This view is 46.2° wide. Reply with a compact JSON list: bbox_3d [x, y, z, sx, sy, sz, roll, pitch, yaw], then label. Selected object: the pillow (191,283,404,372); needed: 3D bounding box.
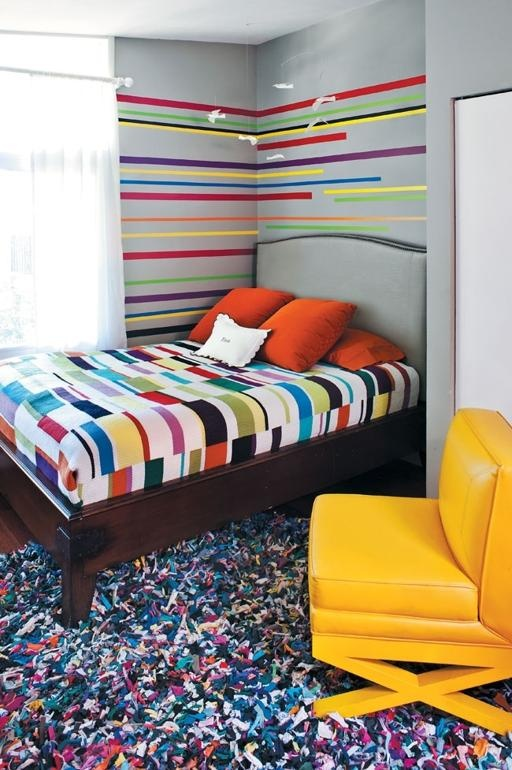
[{"bbox_3d":[0.171,-0.323,3.383,0.562,0.286,0.951,-26,22,-28],"label":"pillow"}]
